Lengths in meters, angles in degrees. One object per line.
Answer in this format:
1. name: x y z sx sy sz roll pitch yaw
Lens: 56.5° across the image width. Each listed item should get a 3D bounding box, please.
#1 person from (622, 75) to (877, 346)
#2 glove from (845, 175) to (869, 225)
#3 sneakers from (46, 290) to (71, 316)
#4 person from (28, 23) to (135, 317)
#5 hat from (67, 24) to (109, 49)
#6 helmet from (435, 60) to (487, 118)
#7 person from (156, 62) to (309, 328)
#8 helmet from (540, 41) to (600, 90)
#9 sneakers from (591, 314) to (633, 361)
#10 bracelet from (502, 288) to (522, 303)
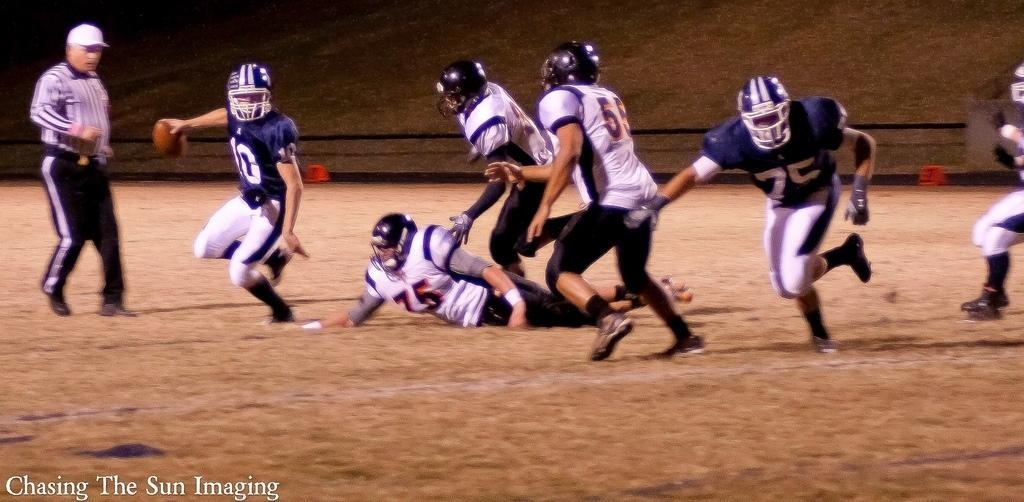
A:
1. person: 2.321 -0.551 8.640 1.935 2.009 0.686 -2 9 5
2. glove: 3.155 -0.459 8.726 0.185 0.476 0.659 -1 7 19
3. sneakers: -4.743 0.544 9.922 0.213 0.249 0.294 -6 8 -21
4. person: -4.625 -0.874 9.995 0.948 3.068 0.885 -6 9 -17
5. hat: -4.568 -2.260 10.034 0.492 0.164 0.336 2 8 30
6. helmet: -0.466 -1.658 9.774 0.675 0.381 0.442 -12 11 4
7. person: -2.689 -0.581 9.628 1.135 2.634 0.509 -3 9 2
8. helmet: 0.620 -1.753 9.112 0.609 0.396 0.605 -8 9 -30
9. sneakers: 0.910 0.795 8.692 0.215 0.528 0.217 40 21 -25
10. bracelet: 0.016 0.444 9.422 0.207 0.114 0.165 0 5 18
